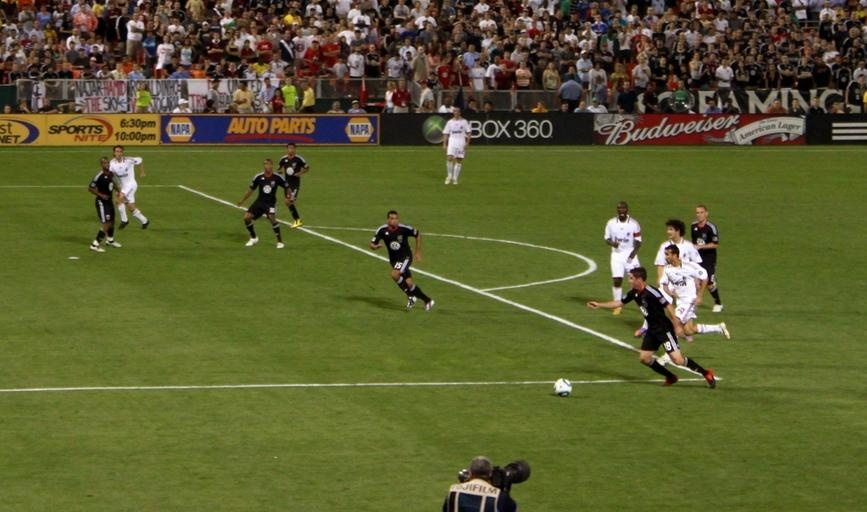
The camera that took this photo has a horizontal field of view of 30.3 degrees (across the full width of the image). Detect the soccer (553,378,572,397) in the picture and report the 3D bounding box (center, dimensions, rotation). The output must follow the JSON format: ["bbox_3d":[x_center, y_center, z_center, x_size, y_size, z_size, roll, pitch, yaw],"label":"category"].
[{"bbox_3d":[4.389,4.428,54.620,0.595,0.584,0.635,4,29,-3],"label":"soccer"}]
